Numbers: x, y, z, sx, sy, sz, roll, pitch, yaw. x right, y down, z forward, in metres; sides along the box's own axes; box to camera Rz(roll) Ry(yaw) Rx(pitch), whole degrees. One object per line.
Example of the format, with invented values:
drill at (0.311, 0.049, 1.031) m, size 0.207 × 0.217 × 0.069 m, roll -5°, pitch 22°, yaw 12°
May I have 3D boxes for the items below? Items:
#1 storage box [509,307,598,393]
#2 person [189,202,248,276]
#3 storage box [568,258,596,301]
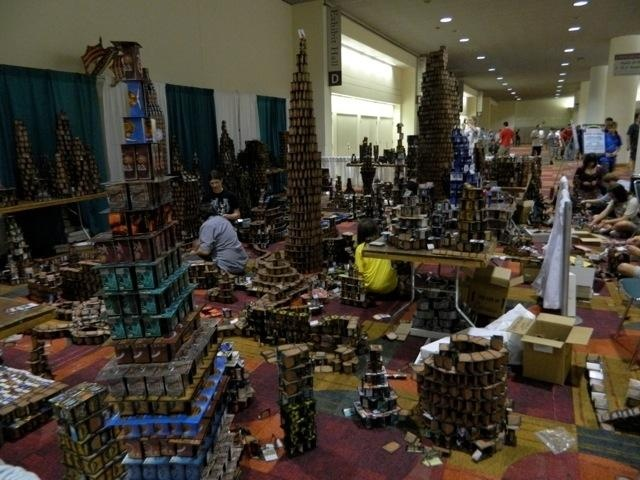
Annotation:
storage box at (3.356, 1.517, 6.675) m, size 0.991 × 0.670 × 1.002 m, roll 4°, pitch 18°, yaw 27°
person at (-2.263, -0.038, 9.833) m, size 1.171 × 1.464 × 1.099 m, roll -1°, pitch 12°, yaw 28°
storage box at (4.736, 0.726, 8.290) m, size 0.430 × 0.515 × 0.752 m, roll 5°, pitch 14°, yaw 34°
